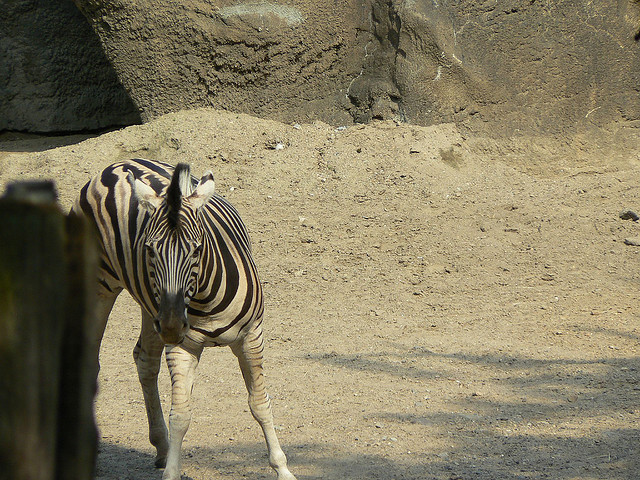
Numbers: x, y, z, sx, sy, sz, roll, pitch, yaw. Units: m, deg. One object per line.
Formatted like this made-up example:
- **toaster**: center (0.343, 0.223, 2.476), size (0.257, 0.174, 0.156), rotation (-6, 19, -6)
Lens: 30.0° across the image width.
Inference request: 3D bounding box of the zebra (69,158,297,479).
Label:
- **zebra**: center (-1.406, 0.785, 11.744), size (2.091, 3.092, 1.172), rotation (6, 6, 27)
